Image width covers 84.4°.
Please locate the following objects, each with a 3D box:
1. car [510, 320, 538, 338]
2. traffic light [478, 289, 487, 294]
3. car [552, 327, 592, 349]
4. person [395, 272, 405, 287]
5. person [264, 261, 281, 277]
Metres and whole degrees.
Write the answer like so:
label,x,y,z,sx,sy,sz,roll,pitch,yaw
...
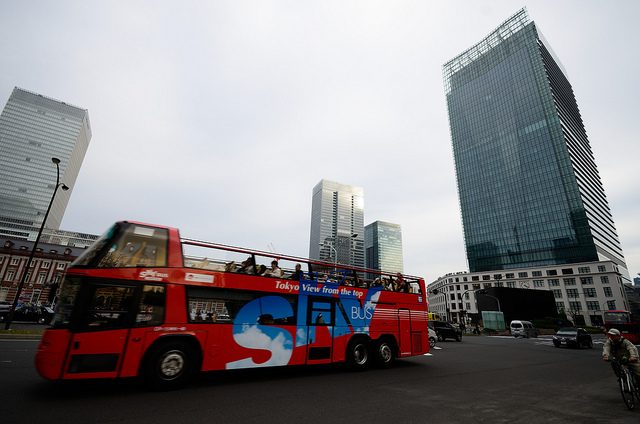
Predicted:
label,x,y,z,sx,sy,sz,roll,pitch,yaw
car,26.477,15.308,46.237,2.579,1.972,3.701,-7,-14,38
traffic light,27.692,13.625,60.065,0.924,0.678,1.214,7,-12,-22
car,22.978,11.486,32.209,3.137,1.709,1.843,8,-13,-27
person,4.349,3.663,19.152,0.568,0.704,0.322,-6,9,0
person,-2.094,2.643,15.994,0.644,0.959,0.649,7,-22,-19
